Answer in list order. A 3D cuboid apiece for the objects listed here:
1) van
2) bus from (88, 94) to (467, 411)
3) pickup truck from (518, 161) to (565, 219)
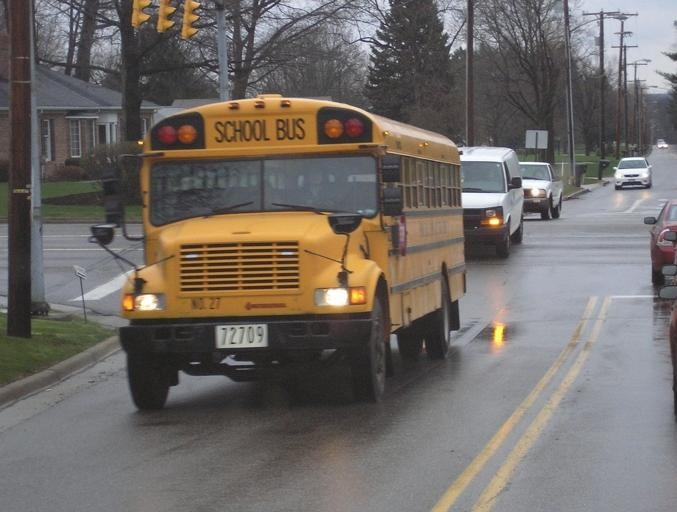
[{"bbox_3d":[4.222,-1.571,24.812,2.040,1.668,3.957,-1,1,11],"label":"van"},{"bbox_3d":[-0.330,-0.096,11.386,3.313,2.978,6.475,-3,1,13],"label":"bus"},{"bbox_3d":[8.161,-2.587,35.949,1.780,1.456,3.103,0,-1,13],"label":"pickup truck"}]
